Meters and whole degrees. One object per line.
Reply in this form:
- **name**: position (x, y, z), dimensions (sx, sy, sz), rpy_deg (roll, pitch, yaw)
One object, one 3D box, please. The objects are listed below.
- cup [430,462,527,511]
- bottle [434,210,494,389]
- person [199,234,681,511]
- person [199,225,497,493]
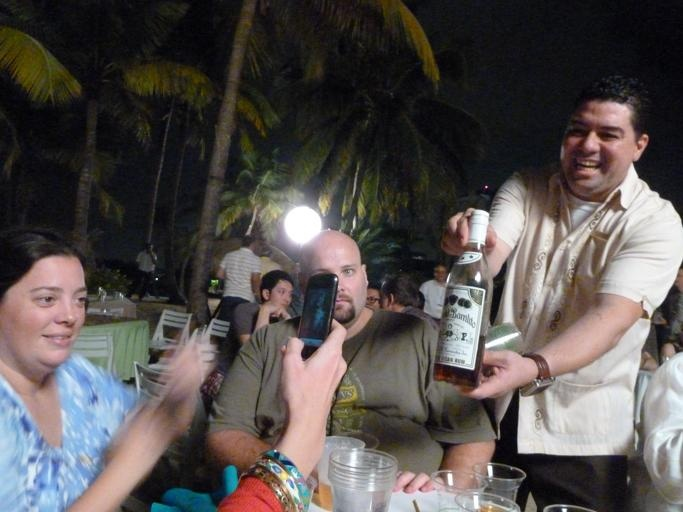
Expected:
- **cup**: position (0.334, 0.520, 1.194), dimensions (0.131, 0.116, 0.127), rpy_deg (1, -12, 0)
- **bottle**: position (0.310, 0.142, 1.255), dimensions (0.117, 0.360, 0.226), rpy_deg (7, -13, 16)
- **person**: position (0.136, 0.421, 1.965), dimensions (1.127, 0.945, 0.761), rpy_deg (-5, -6, 16)
- **person**: position (0.056, 0.459, 1.973), dimensions (1.199, 0.979, 0.781), rpy_deg (-4, -9, 14)
